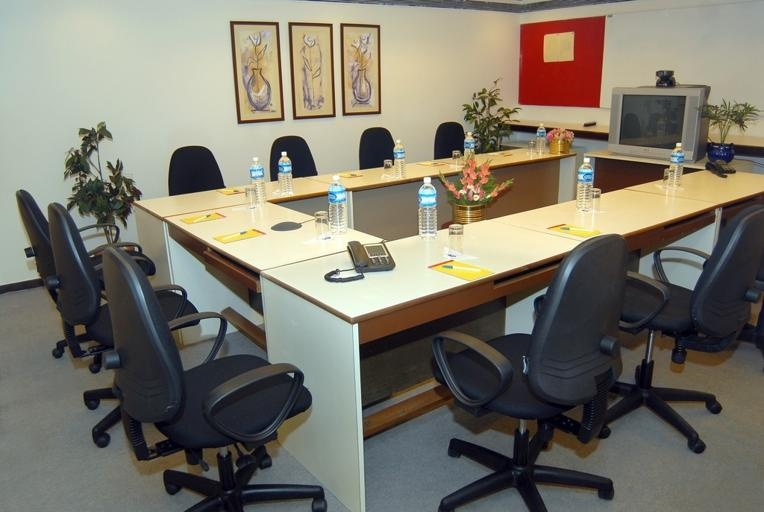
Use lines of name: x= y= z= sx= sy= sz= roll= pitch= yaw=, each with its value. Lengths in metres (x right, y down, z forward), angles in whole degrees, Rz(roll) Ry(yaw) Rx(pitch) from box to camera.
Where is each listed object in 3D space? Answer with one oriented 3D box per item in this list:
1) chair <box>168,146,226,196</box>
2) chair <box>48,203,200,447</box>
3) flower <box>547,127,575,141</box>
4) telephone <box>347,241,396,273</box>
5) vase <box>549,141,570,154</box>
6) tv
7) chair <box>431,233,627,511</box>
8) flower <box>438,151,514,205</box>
chair: x=-1.763 y=-0.900 z=5.417 sx=0.463 sy=0.694 sz=0.482 roll=-12 pitch=32 yaw=-35
chair: x=-1.623 y=0.475 z=3.502 sx=0.858 sy=1.375 sz=0.970 roll=-18 pitch=40 yaw=-33
flower: x=2.155 y=-1.469 z=6.697 sx=0.270 sy=0.141 sz=0.323 roll=1 pitch=22 yaw=11
telephone: x=-0.063 y=0.010 z=3.419 sx=0.204 sy=0.065 sz=0.237 roll=-5 pitch=25 yaw=-11
vase: x=2.098 y=-1.297 z=6.602 sx=0.170 sy=0.127 sz=0.166 roll=-13 pitch=17 yaw=-39
tv: x=2.997 y=-1.407 z=5.923 sx=0.484 sy=0.766 sz=0.882 roll=-14 pitch=23 yaw=-30
chair: x=0.841 y=0.701 z=3.141 sx=1.049 sy=1.550 sz=0.999 roll=-17 pitch=25 yaw=-36
flower: x=0.760 y=-0.764 z=4.674 sx=0.664 sy=0.423 sz=0.634 roll=-4 pitch=14 yaw=-3
